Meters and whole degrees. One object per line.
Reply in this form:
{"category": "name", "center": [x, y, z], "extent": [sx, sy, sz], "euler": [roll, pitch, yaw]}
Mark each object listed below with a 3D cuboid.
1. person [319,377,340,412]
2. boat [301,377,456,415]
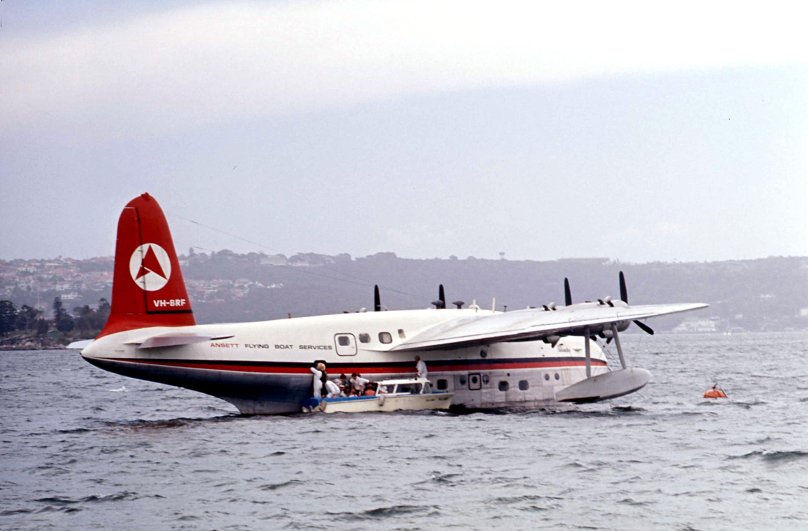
{"category": "person", "center": [-2.566, 4.381, 33.793], "extent": [0.630, 0.389, 1.122], "euler": [24, 2, -3]}
{"category": "boat", "center": [-0.908, 4.602, 34.616], "extent": [5.161, 1.250, 1.713], "euler": [-3, 1, -17]}
